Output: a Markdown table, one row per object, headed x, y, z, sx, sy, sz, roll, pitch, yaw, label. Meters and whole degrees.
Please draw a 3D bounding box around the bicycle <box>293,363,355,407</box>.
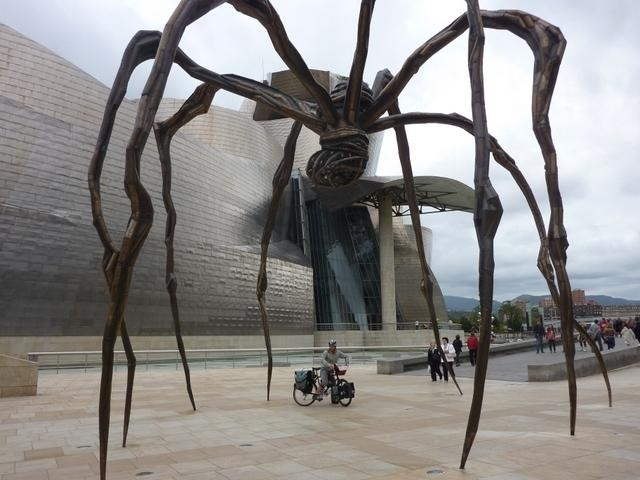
| x | y | z | sx | sy | sz | roll | pitch | yaw | label |
| --- | --- | --- | --- | --- | --- | --- | --- | --- | --- |
| 0.061 | 3.366 | 10.028 | 1.568 | 0.993 | 0.770 | -2 | -7 | -1 | bicycle |
